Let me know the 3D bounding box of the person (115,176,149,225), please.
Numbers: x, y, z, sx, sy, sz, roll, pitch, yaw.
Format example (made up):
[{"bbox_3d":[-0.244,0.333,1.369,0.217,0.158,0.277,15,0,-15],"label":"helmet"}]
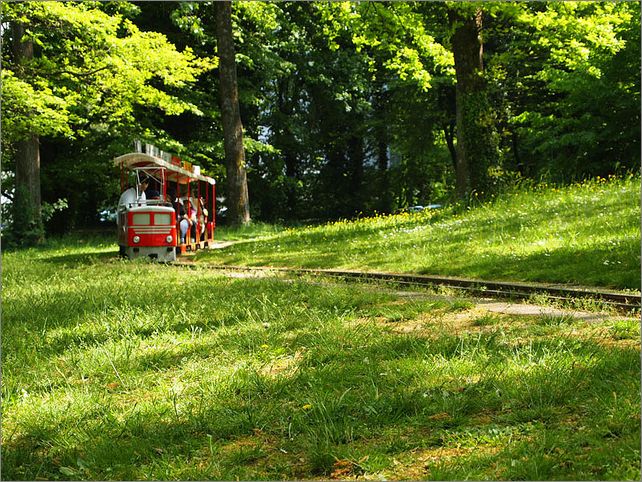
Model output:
[{"bbox_3d":[-5.857,-1.249,27.074,0.930,1.181,1.399,-3,1,-13],"label":"person"}]

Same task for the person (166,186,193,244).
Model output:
[{"bbox_3d":[-4.621,-0.907,29.087,1.070,2.018,0.789,-13,35,-31],"label":"person"}]

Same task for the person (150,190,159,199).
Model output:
[{"bbox_3d":[-5.245,-1.465,27.349,0.346,0.242,0.699,-3,1,-14],"label":"person"}]
